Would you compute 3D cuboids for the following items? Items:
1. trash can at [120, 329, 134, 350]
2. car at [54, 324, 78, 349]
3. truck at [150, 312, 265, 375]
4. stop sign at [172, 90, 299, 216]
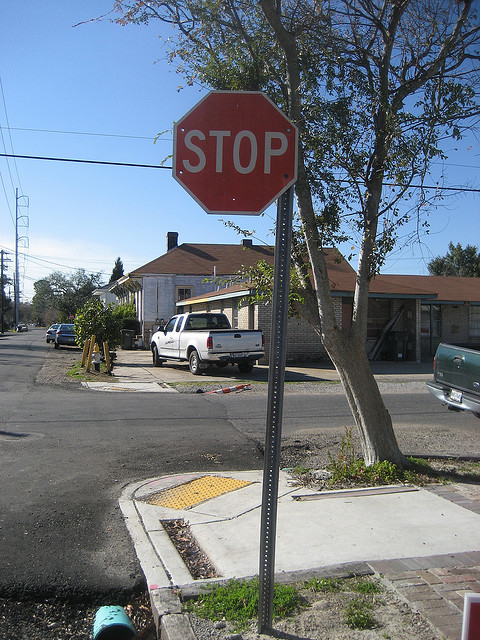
[{"bbox_3d":[-6.885,1.217,36.495,0.660,1.188,1.178,1,2,-13],"label":"trash can"},{"bbox_3d":[-10.492,0.996,35.674,1.130,1.463,1.766,1,2,-18],"label":"car"},{"bbox_3d":[-1.202,0.699,19.490,1.644,1.502,3.743,1,3,-21],"label":"truck"},{"bbox_3d":[-0.019,-0.784,2.761,0.566,0.583,0.092,1,2,-4],"label":"stop sign"}]
